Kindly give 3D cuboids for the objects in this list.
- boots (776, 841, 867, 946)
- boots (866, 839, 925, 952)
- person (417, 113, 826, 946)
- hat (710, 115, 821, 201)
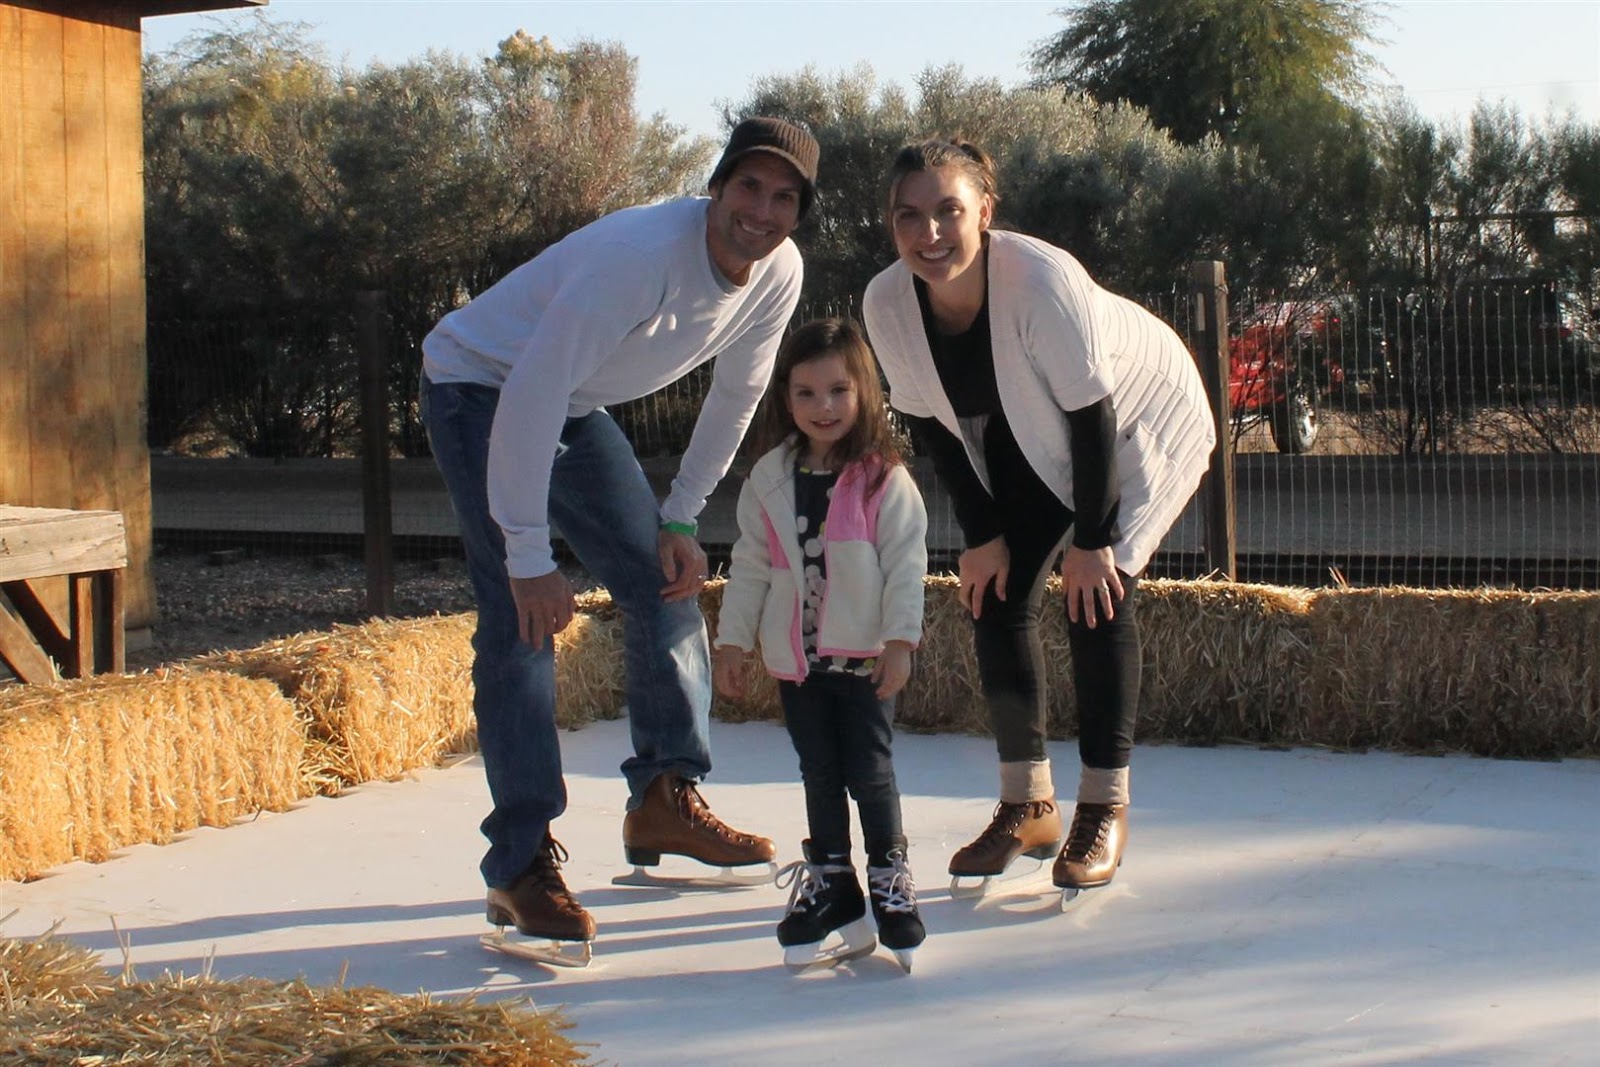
[{"bbox_3d":[0.069,1.230,5.806,0.289,0.316,0.209,1,14,4],"label":"boots"},{"bbox_3d":[0.326,1.236,5.802,0.131,0.195,0.418,-14,17,-3],"label":"boots"},{"bbox_3d":[-0.617,-0.047,6.041,1.279,2.778,0.959,-7,16,-25],"label":"person"},{"bbox_3d":[-0.132,-1.314,5.937,0.393,0.274,0.345,-2,15,-7],"label":"hat"}]
